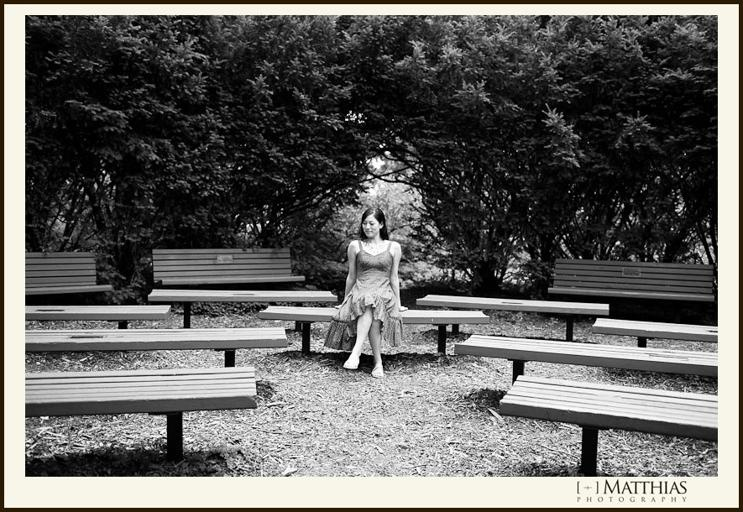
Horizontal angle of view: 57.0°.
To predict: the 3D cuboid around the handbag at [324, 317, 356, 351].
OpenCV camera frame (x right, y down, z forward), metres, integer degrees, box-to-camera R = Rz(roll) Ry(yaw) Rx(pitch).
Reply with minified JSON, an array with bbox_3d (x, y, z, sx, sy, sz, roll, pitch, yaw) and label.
[{"bbox_3d":[-0.311,0.901,7.738,0.465,0.469,0.291,6,-4,0],"label":"handbag"}]
